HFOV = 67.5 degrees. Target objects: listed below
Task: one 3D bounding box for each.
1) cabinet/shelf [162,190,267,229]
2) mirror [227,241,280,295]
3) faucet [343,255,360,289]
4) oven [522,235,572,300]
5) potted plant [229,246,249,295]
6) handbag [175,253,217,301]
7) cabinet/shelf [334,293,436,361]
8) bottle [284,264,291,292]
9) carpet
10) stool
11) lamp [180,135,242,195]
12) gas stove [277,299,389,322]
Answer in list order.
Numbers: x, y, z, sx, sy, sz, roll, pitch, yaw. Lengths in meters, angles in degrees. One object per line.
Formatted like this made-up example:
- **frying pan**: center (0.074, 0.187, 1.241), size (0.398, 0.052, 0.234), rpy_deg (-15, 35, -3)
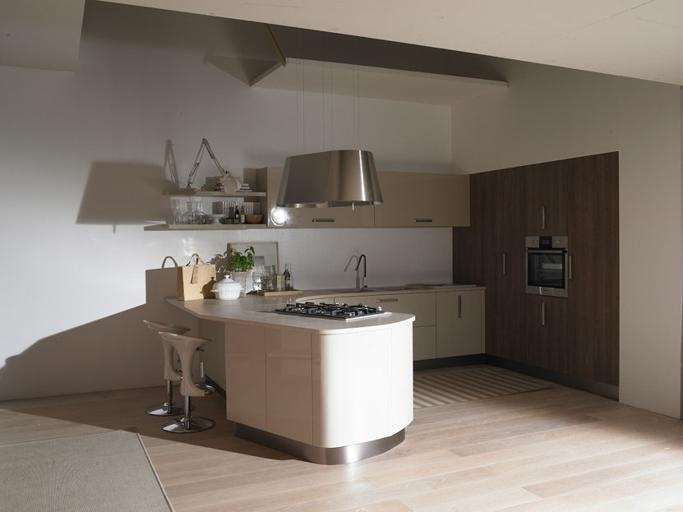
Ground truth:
- **cabinet/shelf**: center (-1.456, -0.544, 6.027), size (1.114, 0.453, 0.452), rpy_deg (0, 5, -22)
- **mirror**: center (-1.087, 0.159, 6.130), size (0.611, 0.742, 0.091), rpy_deg (0, -2, -27)
- **faucet**: center (0.140, 0.197, 6.853), size (0.220, 0.431, 0.188), rpy_deg (2, 5, 7)
- **oven**: center (2.526, 0.106, 6.260), size (0.516, 0.696, 0.464), rpy_deg (0, 2, 23)
- **potted plant**: center (-1.222, 0.170, 6.117), size (0.257, 0.547, 0.376), rpy_deg (0, 5, -15)
- **handbag**: center (-1.679, 0.259, 5.811), size (0.488, 0.643, 0.233), rpy_deg (-1, 4, -42)
- **cabinet/shelf**: center (0.659, 1.094, 6.874), size (1.440, 1.054, 0.804), rpy_deg (-1, 6, -13)
- **bottle**: center (-0.650, 0.254, 6.233), size (0.100, 0.285, 0.329), rpy_deg (1, 5, -7)
- **carpet**: center (1.459, 1.497, 6.104), size (1.799, 0.094, 1.288), rpy_deg (0, 5, -22)
- **stool**: center (-1.698, 1.252, 5.257), size (0.386, 0.713, 0.978), rpy_deg (-1, 2, -23)
- **lamp**: center (-1.496, -1.062, 5.973), size (0.617, 0.660, 0.443), rpy_deg (0, 5, -18)
- **gas stove**: center (-0.105, 0.491, 4.616), size (0.989, 0.089, 0.566), rpy_deg (4, 6, 25)
